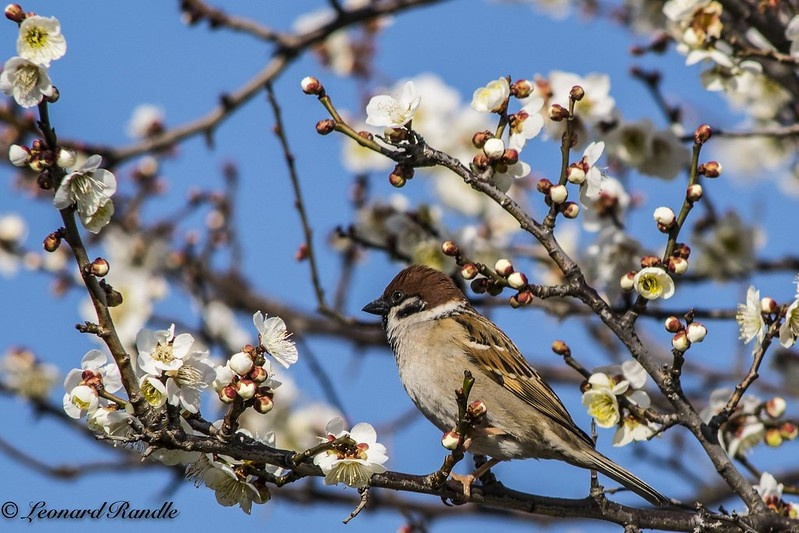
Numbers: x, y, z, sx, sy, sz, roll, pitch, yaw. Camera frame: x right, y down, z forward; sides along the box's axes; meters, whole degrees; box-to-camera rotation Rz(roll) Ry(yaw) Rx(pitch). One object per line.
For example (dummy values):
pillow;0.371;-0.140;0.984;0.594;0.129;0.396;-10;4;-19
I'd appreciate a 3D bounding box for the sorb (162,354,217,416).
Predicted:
sorb;-1.249;0.686;6.624;0.290;0.227;0.342;17;-55;-13

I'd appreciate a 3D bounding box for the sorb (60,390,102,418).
sorb;-1.871;0.803;6.597;0.194;0.121;0.148;-19;-55;13

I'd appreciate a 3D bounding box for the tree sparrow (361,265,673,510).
tree sparrow;0.772;0.979;8.651;2.827;2.004;0.979;8;-16;12

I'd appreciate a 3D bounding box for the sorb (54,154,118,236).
sorb;-1.842;-0.464;6.659;0.361;0.173;0.454;5;-77;-19
